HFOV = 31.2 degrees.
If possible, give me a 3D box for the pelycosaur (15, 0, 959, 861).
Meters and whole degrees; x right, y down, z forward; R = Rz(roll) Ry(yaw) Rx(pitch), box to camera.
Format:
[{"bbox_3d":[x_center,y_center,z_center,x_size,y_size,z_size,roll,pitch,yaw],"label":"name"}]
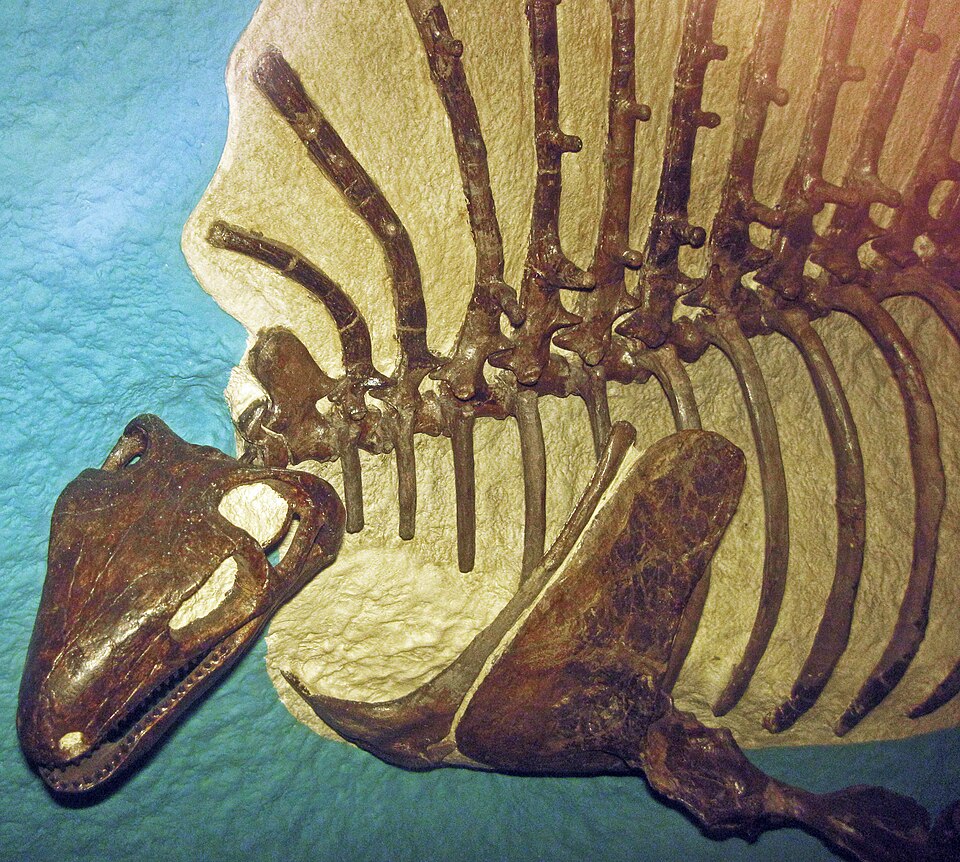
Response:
[{"bbox_3d":[0.030,0.052,2.673,1.545,1.300,0.686,-6,48,-3],"label":"pelycosaur"}]
